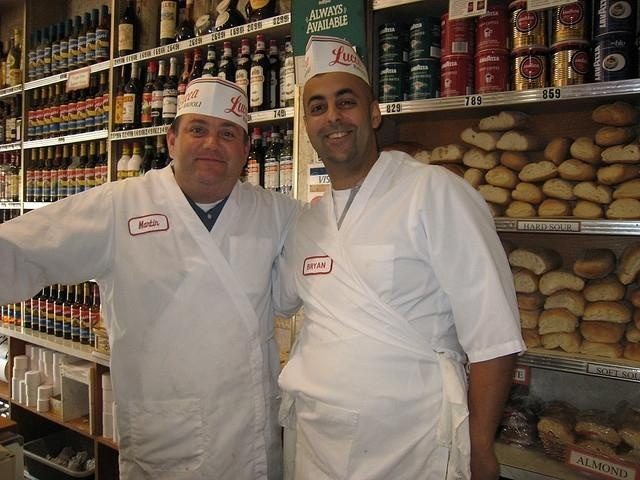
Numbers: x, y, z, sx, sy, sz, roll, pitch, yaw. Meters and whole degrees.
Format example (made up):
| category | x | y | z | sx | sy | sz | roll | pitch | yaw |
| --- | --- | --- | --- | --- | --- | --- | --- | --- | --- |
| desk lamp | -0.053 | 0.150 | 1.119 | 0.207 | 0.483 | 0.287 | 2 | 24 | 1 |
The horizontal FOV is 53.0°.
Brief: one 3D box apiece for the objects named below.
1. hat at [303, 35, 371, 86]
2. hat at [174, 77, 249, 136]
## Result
| category | x | y | z | sx | sy | sz | roll | pitch | yaw |
| --- | --- | --- | --- | --- | --- | --- | --- | --- | --- |
| hat | 0.085 | -0.785 | 2.865 | 0.332 | 0.178 | 0.253 | 9 | -4 | -35 |
| hat | -0.505 | -0.641 | 3.015 | 0.303 | 0.192 | 0.324 | 9 | 0 | 3 |
